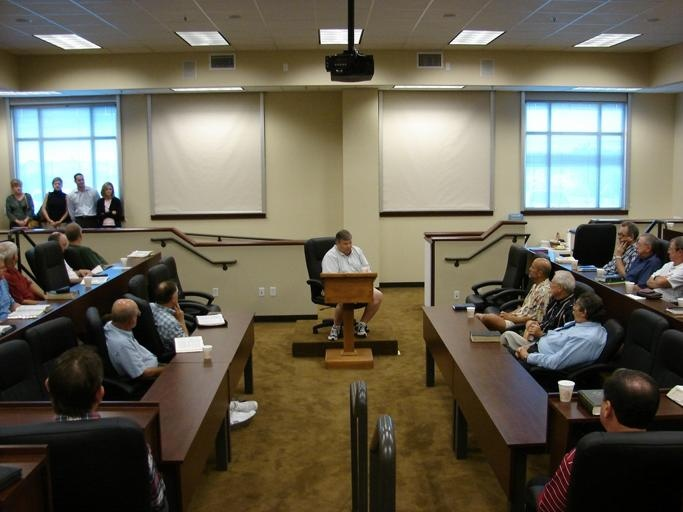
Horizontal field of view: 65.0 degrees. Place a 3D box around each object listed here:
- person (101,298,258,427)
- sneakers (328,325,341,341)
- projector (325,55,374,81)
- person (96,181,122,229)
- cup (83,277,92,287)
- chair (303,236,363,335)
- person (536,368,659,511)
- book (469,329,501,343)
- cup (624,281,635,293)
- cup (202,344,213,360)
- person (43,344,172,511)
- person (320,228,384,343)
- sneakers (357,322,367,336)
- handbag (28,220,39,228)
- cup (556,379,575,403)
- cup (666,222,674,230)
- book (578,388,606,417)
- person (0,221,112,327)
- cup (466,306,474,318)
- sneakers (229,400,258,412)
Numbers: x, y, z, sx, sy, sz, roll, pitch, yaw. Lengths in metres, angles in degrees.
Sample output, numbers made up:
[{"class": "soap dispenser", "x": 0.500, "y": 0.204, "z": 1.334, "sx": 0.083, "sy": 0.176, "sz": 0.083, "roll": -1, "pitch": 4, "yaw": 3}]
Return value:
[{"class": "person", "x": -1.292, "y": 0.832, "z": 5.078, "sx": 1.160, "sy": 1.555, "sz": 1.171, "roll": 0, "pitch": 8, "yaw": 4}, {"class": "sneakers", "x": -0.092, "y": 0.945, "z": 6.754, "sx": 0.169, "sy": 0.186, "sz": 0.275, "roll": 0, "pitch": 11, "yaw": 0}, {"class": "projector", "x": 0.098, "y": -2.348, "z": 6.654, "sx": 0.563, "sy": 0.325, "sz": 0.369, "roll": 0, "pitch": 11, "yaw": 4}, {"class": "person", "x": -4.248, "y": -0.915, "z": 9.650, "sx": 0.402, "sy": 0.770, "sz": 0.328, "roll": -2, "pitch": 11, "yaw": -6}, {"class": "cup", "x": -2.645, "y": 0.272, "z": 5.613, "sx": 0.100, "sy": 0.110, "sz": 0.104, "roll": -1, "pitch": -5, "yaw": 0}, {"class": "chair", "x": -0.077, "y": 0.392, "z": 7.052, "sx": 0.735, "sy": 1.244, "sz": 0.750, "roll": -4, "pitch": 5, "yaw": -16}, {"class": "person", "x": 1.280, "y": 0.963, "z": 2.616, "sx": 0.557, "sy": 0.754, "sz": 0.371, "roll": -4, "pitch": 12, "yaw": -18}, {"class": "book", "x": 1.288, "y": 0.713, "z": 4.819, "sx": 0.259, "sy": 0.071, "sz": 0.190, "roll": 2, "pitch": 11, "yaw": 11}, {"class": "cup", "x": 2.821, "y": 0.302, "z": 5.214, "sx": 0.111, "sy": 0.115, "sz": 0.122, "roll": 0, "pitch": -1, "yaw": 6}, {"class": "cup", "x": -1.096, "y": 0.781, "z": 4.390, "sx": 0.093, "sy": 0.109, "sz": 0.097, "roll": 1, "pitch": 3, "yaw": 0}, {"class": "person", "x": -1.220, "y": 0.964, "z": 2.797, "sx": 0.594, "sy": 0.905, "sz": 0.434, "roll": 5, "pitch": 12, "yaw": 25}, {"class": "person", "x": 0.094, "y": 0.352, "z": 6.781, "sx": 0.784, "sy": 1.332, "sz": 0.869, "roll": 2, "pitch": 11, "yaw": 10}, {"class": "sneakers", "x": 0.253, "y": 0.915, "z": 6.800, "sx": 0.146, "sy": 0.168, "sz": 0.208, "roll": 0, "pitch": 11, "yaw": 1}, {"class": "handbag", "x": -5.591, "y": -0.582, "z": 9.668, "sx": 0.178, "sy": 0.243, "sz": 0.194, "roll": -1, "pitch": 3, "yaw": -24}, {"class": "cup", "x": 1.350, "y": 0.813, "z": 3.271, "sx": 0.121, "sy": 0.127, "sz": 0.128, "roll": 0, "pitch": 0, "yaw": 0}, {"class": "cup", "x": 5.541, "y": -0.507, "z": 9.006, "sx": 0.131, "sy": 0.138, "sz": 0.101, "roll": -1, "pitch": 2, "yaw": 8}, {"class": "book", "x": 1.468, "y": 0.843, "z": 3.145, "sx": 0.184, "sy": 0.047, "sz": 0.191, "roll": -3, "pitch": 7, "yaw": -12}, {"class": "person", "x": -3.383, "y": 0.144, "z": 6.211, "sx": 1.080, "sy": 1.485, "sz": 1.032, "roll": 0, "pitch": 6, "yaw": 15}, {"class": "cup", "x": 1.307, "y": 0.574, "z": 5.483, "sx": 0.095, "sy": 0.114, "sz": 0.100, "roll": 1, "pitch": 2, "yaw": 0}, {"class": "sneakers", "x": -0.940, "y": 1.440, "z": 5.169, "sx": 0.163, "sy": 0.054, "sz": 0.136, "roll": -3, "pitch": 1, "yaw": -5}]
